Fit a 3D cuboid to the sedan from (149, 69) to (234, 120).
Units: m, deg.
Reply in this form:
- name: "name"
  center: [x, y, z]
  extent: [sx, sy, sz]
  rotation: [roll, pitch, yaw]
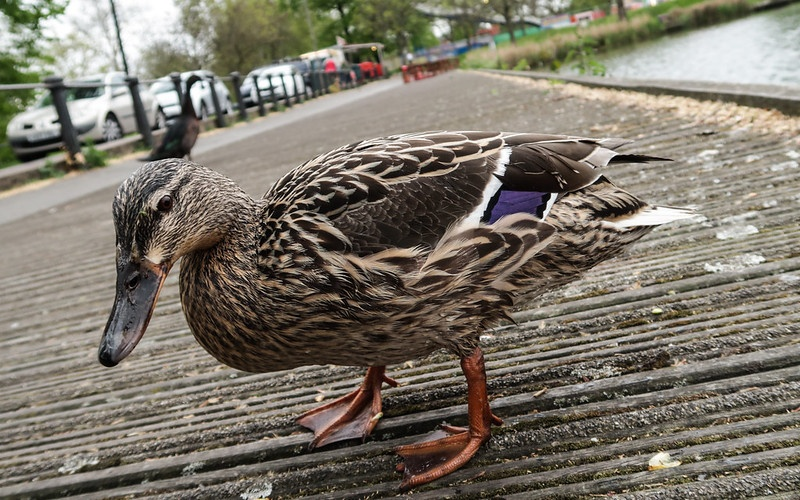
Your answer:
- name: "sedan"
  center: [-4.986, -3.549, 19.943]
  extent: [1.142, 0.608, 1.633]
  rotation: [-19, 5, -7]
